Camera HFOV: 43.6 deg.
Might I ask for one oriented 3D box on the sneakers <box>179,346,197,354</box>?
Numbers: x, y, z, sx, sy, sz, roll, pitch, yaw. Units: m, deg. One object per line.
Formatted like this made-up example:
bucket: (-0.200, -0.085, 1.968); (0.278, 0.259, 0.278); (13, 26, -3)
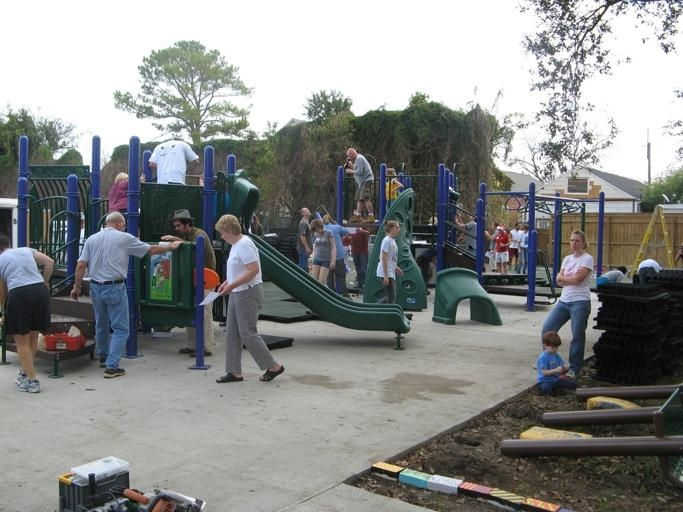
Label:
sneakers: (-2.197, 1.320, 12.116); (0.172, 0.079, 0.094); (4, -1, 5)

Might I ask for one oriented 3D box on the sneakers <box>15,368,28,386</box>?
sneakers: (-3.898, 1.470, 10.345); (0.126, 0.183, 0.385); (1, -7, -21)

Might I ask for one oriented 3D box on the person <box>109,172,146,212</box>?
person: (-3.423, -0.866, 13.621); (0.523, 0.873, 0.422); (-4, -12, -14)

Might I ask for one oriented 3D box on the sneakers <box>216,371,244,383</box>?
sneakers: (-1.397, 1.499, 10.708); (0.318, 0.136, 0.121); (3, -2, -13)

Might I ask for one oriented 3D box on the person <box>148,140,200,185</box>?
person: (-2.781, -1.476, 14.085); (0.770, 0.809, 0.588); (-1, -15, -12)

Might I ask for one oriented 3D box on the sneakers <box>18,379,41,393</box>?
sneakers: (-3.697, 1.509, 10.134); (0.283, 0.151, 0.125); (5, 4, 22)

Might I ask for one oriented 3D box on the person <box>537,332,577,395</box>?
person: (2.603, 1.305, 10.579); (0.492, 0.745, 0.403); (-12, 13, -42)

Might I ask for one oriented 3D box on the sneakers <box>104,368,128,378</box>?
sneakers: (-2.869, 1.438, 10.806); (0.287, 0.112, 0.221); (-4, 12, -27)

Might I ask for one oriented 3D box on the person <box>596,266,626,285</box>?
person: (4.642, 0.332, 14.800); (0.235, 0.270, 0.863); (24, 18, 32)

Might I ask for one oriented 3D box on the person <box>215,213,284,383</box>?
person: (-1.237, 0.540, 10.585); (0.702, 2.036, 0.732); (11, 15, 41)

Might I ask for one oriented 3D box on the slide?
slide: (-0.228, 0.439, 12.958); (2.609, 1.458, 0.726); (-1, 5, 8)

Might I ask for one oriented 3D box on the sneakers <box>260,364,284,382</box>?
sneakers: (-0.878, 1.463, 10.770); (0.129, 0.118, 0.349); (4, 15, 37)

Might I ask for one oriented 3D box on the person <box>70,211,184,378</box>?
person: (-2.924, 0.478, 10.994); (0.719, 1.998, 0.761); (10, 14, 38)
